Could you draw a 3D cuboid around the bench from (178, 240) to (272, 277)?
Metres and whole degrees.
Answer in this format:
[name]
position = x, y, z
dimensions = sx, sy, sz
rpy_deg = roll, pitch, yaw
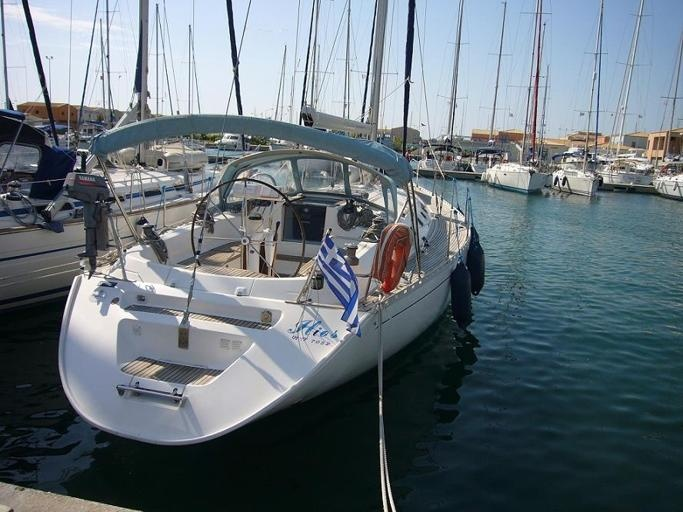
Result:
[bench]
position = -1.337, 0.275, 5.944
dimensions = 0.429, 0.224, 0.854
rpy_deg = 10, 17, 24

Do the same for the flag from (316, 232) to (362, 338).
[flag]
position = -0.021, 0.308, 4.632
dimensions = 0.248, 0.629, 0.784
rpy_deg = -15, 63, -39
